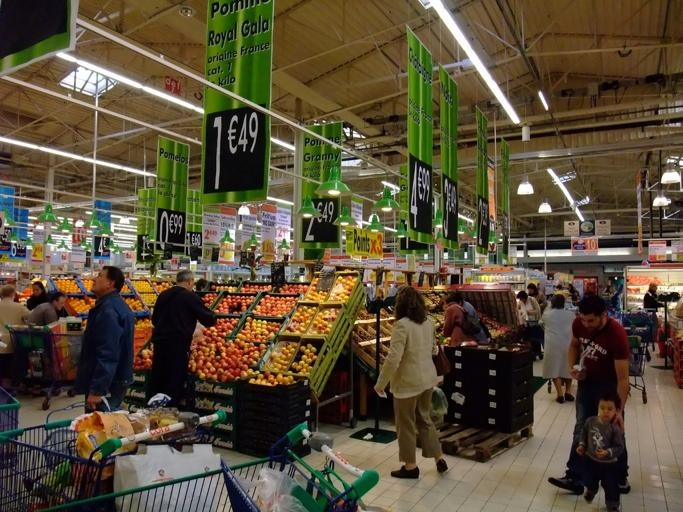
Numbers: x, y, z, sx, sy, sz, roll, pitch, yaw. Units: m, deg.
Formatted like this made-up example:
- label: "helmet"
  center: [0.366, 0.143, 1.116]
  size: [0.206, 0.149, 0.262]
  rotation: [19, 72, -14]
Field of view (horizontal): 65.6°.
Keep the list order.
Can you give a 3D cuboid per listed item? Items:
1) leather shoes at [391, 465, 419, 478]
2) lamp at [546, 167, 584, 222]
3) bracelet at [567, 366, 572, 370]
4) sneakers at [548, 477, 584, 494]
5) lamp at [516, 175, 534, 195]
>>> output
- label: "leather shoes"
  center: [0.684, 2.290, 5.673]
  size: [0.301, 0.136, 0.117]
  rotation: [2, -9, 9]
- label: "lamp"
  center: [9.730, -2.739, 23.076]
  size: [0.253, 0.537, 3.491]
  rotation: [-25, -39, 21]
- label: "bracelet"
  center: [2.275, 1.118, 5.286]
  size: [0.038, 0.047, 0.041]
  rotation: [5, 0, 5]
- label: "sneakers"
  center: [2.274, 2.319, 5.357]
  size: [0.313, 0.109, 0.144]
  rotation: [15, 38, 15]
- label: "lamp"
  center: [4.684, -1.842, 13.540]
  size: [0.308, 0.466, 0.796]
  rotation: [3, 5, 17]
